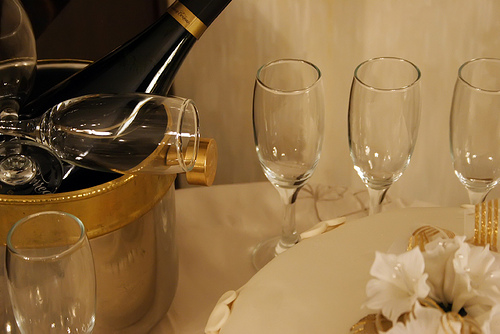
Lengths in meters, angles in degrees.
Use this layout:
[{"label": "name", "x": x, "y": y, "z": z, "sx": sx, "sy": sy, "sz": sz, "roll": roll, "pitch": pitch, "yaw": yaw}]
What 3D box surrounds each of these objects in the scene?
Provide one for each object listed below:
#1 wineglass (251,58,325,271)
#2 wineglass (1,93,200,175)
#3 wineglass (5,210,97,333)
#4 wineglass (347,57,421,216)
[{"label": "wineglass", "x": 0.052, "y": 0.000, "z": 0.643, "sx": 0.091, "sy": 0.297, "sz": 0.096, "roll": 10, "pitch": 26, "yaw": 26}, {"label": "wineglass", "x": -0.150, "y": -0.028, "z": 0.455, "sx": 0.199, "sy": 0.077, "sz": 0.027, "roll": -2, "pitch": 12, "yaw": 3}, {"label": "wineglass", "x": -0.182, "y": 0.105, "z": 0.431, "sx": 0.074, "sy": 0.125, "sz": 0.043, "roll": -7, "pitch": 13, "yaw": -22}, {"label": "wineglass", "x": 0.181, "y": -0.035, "z": 0.634, "sx": 0.090, "sy": 0.218, "sz": 0.117, "roll": 4, "pitch": 14, "yaw": 27}]
